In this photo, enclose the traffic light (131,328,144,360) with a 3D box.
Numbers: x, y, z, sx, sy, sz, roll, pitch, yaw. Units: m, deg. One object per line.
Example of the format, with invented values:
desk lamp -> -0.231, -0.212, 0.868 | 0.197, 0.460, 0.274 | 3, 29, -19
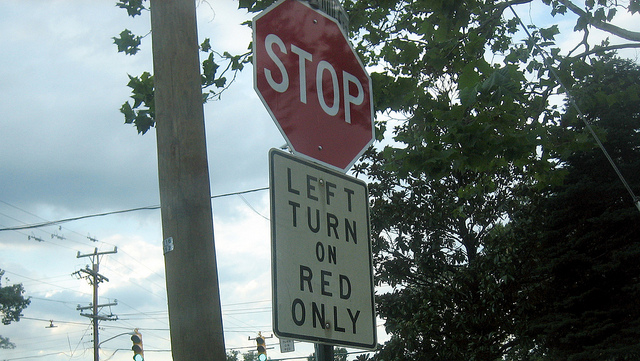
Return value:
traffic light -> -8.920, 7.959, 33.566 | 0.473, 1.494, 0.935 | 2, -31, -11
